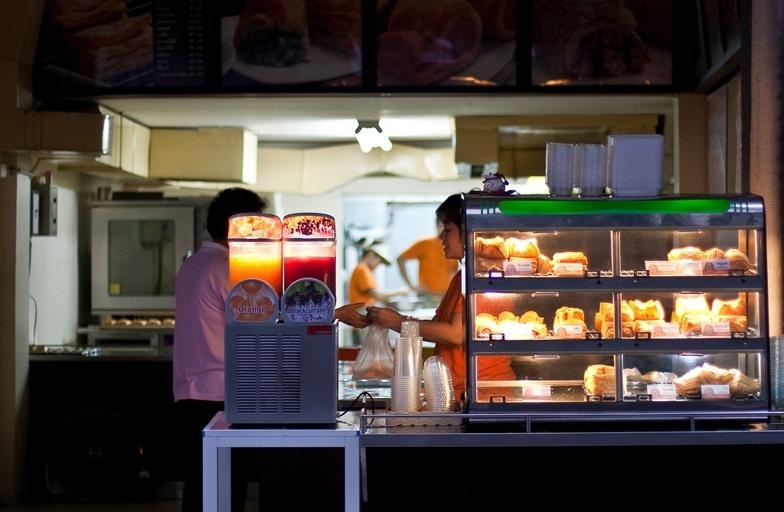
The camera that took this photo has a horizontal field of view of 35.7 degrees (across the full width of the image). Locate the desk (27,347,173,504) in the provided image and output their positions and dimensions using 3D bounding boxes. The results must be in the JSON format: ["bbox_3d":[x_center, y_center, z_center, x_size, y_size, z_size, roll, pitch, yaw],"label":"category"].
[{"bbox_3d":[-2.374,1.381,9.811,1.484,1.144,0.705,0,0,-1],"label":"desk"}]

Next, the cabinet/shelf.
[{"bbox_3d":[1.472,0.333,7.942,1.692,1.051,0.562,1,-4,-4],"label":"cabinet/shelf"}]

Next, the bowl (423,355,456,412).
[{"bbox_3d":[0.307,0.832,7.998,0.201,0.359,0.139,-1,-4,1],"label":"bowl"}]

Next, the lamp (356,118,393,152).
[{"bbox_3d":[-0.175,-1.058,10.782,0.294,0.235,0.474,-1,-3,-2],"label":"lamp"}]
